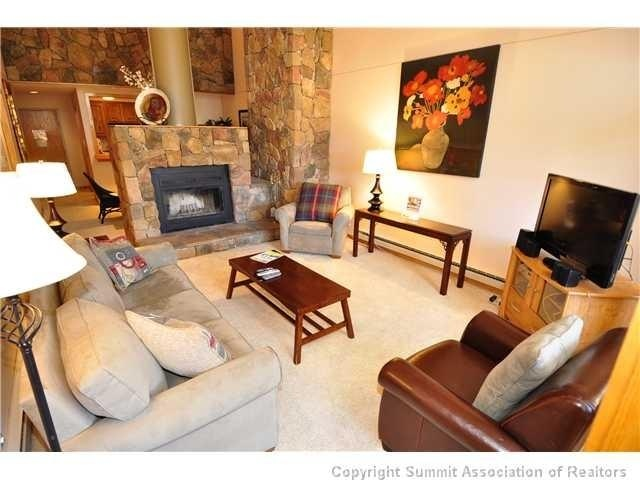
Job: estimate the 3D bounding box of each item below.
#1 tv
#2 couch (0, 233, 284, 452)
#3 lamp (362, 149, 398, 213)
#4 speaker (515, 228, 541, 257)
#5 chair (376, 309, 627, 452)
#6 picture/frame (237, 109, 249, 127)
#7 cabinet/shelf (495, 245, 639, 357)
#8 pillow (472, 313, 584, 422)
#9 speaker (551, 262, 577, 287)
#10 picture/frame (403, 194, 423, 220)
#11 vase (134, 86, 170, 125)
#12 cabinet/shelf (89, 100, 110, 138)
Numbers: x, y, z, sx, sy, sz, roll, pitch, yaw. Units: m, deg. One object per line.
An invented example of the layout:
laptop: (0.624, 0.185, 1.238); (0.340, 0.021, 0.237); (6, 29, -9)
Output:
tv: (1.639, -0.037, 2.602); (0.234, 0.548, 0.665); (2, 22, -7)
couch: (-0.897, 0.529, 2.161); (0.639, 0.439, 1.132); (-9, 21, -31)
lamp: (0.648, -0.654, 4.661); (0.331, 0.694, 0.580); (5, 19, 8)
speaker: (1.542, 0.024, 3.143); (0.108, 0.166, 0.195); (0, 14, -7)
chair: (0.837, 0.647, 1.949); (0.717, 0.517, 0.697); (-8, 16, -35)
picture/frame: (-1.205, -1.908, 6.630); (0.086, 0.255, 0.558); (-5, 19, -18)
cabinet/shelf: (1.447, 0.340, 2.448); (0.374, 0.495, 0.537); (-1, 21, -7)
pillow: (0.968, 0.591, 1.934); (0.457, 0.442, 0.198); (-8, 22, -28)
speaker: (1.527, 0.215, 2.682); (0.128, 0.109, 0.161); (11, 16, -8)
picture/frame: (0.968, -0.343, 4.396); (0.036, 0.333, 0.253); (-2, 14, -39)
vase: (-1.910, -1.528, 4.846); (0.421, 0.404, 0.155); (-20, 27, -10)
cabinet/shelf: (-3.840, -2.094, 7.356); (0.183, 0.647, 0.373); (8, 20, 16)
